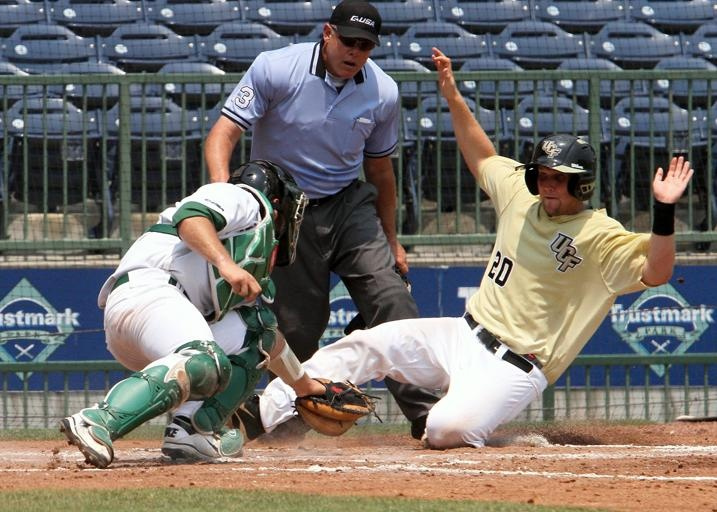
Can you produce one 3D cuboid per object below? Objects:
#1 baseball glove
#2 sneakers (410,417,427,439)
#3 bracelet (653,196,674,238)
[{"bbox_3d":[-0.210,1.337,14.529,0.579,0.290,0.484,22,-30,-7],"label":"baseball glove"},{"bbox_3d":[0.546,1.593,15.185,0.189,0.213,0.183,-3,7,-10],"label":"sneakers"},{"bbox_3d":[2.629,-0.314,14.465,0.237,0.394,0.273,1,-1,19],"label":"bracelet"}]
